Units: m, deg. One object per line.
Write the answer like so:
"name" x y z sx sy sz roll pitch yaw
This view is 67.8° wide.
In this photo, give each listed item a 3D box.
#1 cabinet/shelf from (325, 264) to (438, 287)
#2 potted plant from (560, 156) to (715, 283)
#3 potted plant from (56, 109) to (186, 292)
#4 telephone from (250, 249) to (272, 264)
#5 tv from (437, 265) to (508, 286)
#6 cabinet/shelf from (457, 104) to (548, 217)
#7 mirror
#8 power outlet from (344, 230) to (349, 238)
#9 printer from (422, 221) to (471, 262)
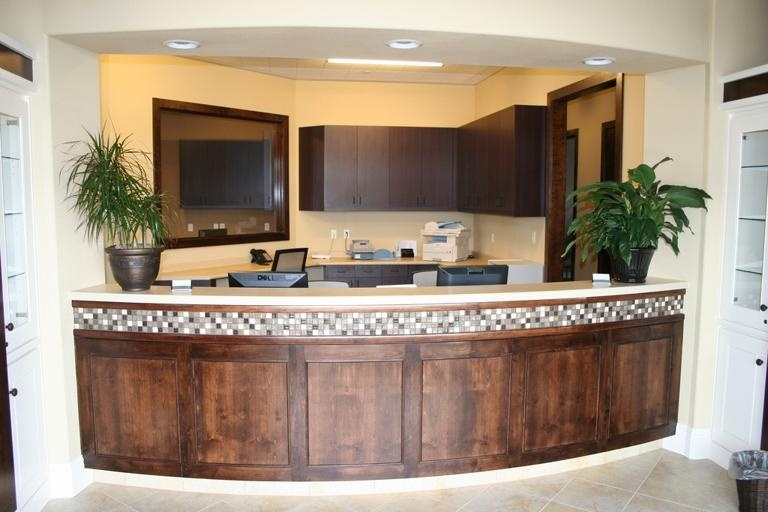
"cabinet/shelf" -0.063 0.228 7.335 1.372 0.307 0.262 -4 4 -7
"potted plant" 2.125 -0.307 5.092 1.177 0.876 1.122 1 -1 6
"potted plant" -2.007 -0.313 4.420 0.797 1.079 0.683 -1 2 -40
"telephone" -1.612 0.012 7.521 0.244 0.168 0.183 3 3 30
"tv" 0.747 0.165 4.798 0.626 0.181 0.175 -4 4 -6
"cabinet/shelf" 1.420 -1.135 7.283 0.441 1.223 2.088 -1 6 -10
"mirror" -2.101 -1.073 7.156 2.208 1.965 0.177 -2 3 -39
"power outlet" -0.527 -0.302 8.065 0.080 0.118 0.032 -4 5 -9
"printer" 0.832 -0.212 7.808 0.753 0.486 0.708 -1 6 -17
